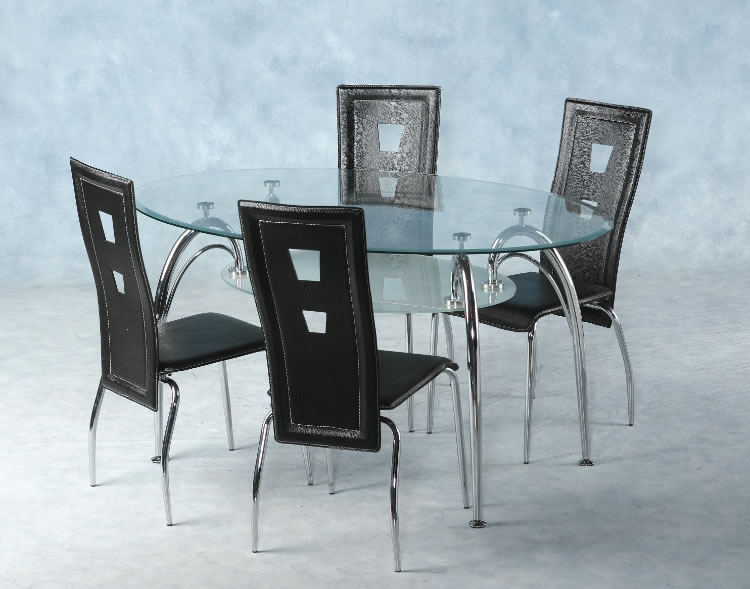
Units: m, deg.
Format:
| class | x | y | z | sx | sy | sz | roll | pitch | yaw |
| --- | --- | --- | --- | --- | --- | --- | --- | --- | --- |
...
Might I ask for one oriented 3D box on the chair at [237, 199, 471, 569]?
| class | x | y | z | sx | sy | sz | roll | pitch | yaw |
| --- | --- | --- | --- | --- | --- | --- | --- | --- | --- |
| chair | -0.030 | 0.244 | 1.855 | 0.610 | 0.994 | 0.463 | -1 | 15 | -9 |
